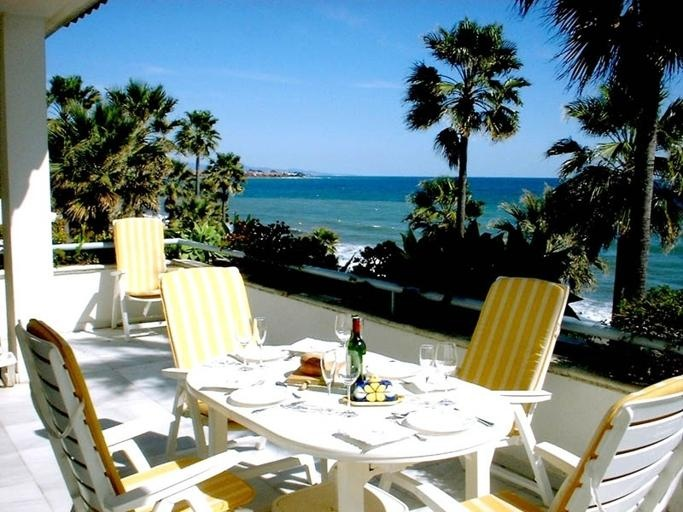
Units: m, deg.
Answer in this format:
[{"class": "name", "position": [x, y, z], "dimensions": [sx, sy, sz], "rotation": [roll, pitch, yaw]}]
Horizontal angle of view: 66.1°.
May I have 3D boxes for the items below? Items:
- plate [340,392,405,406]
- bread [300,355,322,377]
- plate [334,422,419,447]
[{"class": "plate", "position": [0.137, 0.596, 2.186], "dimensions": [0.164, 0.024, 0.103], "rotation": [-1, 2, 2]}, {"class": "bread", "position": [-0.147, 0.511, 2.473], "dimensions": [0.111, 0.078, 0.104], "rotation": [5, -4, -40]}, {"class": "plate", "position": [0.114, 0.646, 1.924], "dimensions": [0.280, 0.019, 0.190], "rotation": [1, 5, -24]}]
